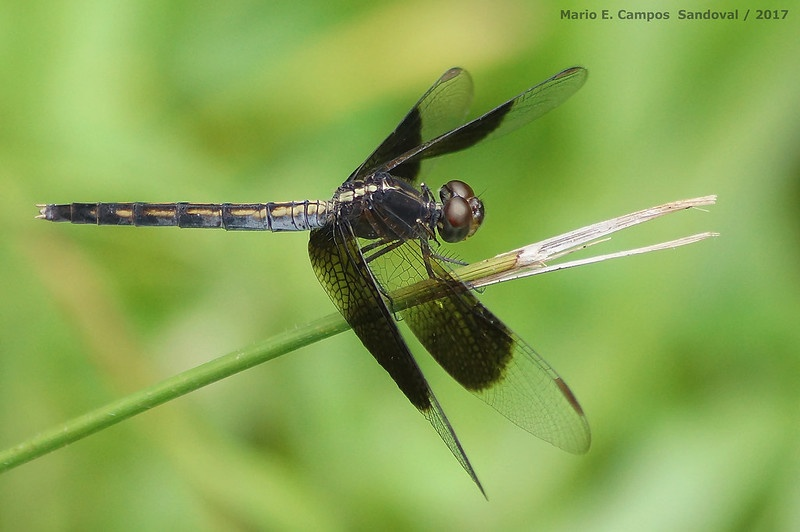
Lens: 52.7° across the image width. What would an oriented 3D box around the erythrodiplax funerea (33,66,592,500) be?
[{"bbox_3d":[-0.621,-0.256,5.502,3.526,0.684,3.432,-3,53,1],"label":"erythrodiplax funerea"}]
